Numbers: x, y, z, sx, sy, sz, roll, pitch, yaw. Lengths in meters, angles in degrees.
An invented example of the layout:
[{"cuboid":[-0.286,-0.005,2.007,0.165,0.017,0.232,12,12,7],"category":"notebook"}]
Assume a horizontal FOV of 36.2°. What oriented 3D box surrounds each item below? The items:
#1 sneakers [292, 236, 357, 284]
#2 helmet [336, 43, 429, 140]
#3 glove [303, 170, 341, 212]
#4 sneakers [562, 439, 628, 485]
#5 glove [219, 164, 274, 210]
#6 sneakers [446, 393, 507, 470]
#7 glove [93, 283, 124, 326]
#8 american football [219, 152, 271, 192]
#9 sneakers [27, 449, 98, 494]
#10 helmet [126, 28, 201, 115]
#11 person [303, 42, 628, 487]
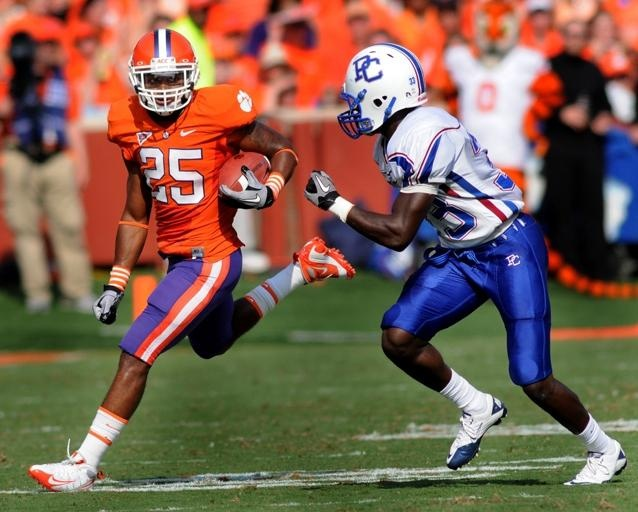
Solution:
[{"cuboid":[0.078,0.035,6.238,0.429,0.214,0.191,6,10,-12],"category":"sneakers"},{"cuboid":[0.340,-0.894,5.269,0.598,0.446,0.420,5,16,14],"category":"helmet"},{"cuboid":[0.017,-0.346,5.284,0.154,0.102,0.250,-44,49,-11],"category":"glove"},{"cuboid":[1.448,1.111,5.102,0.399,0.143,0.135,-20,11,-23],"category":"sneakers"},{"cuboid":[-0.393,-0.323,5.263,0.124,0.195,0.270,-18,10,-16],"category":"glove"},{"cuboid":[0.907,1.019,5.557,0.224,0.444,0.155,44,-12,-28],"category":"sneakers"},{"cuboid":[-1.174,0.274,5.435,0.094,0.201,0.212,36,-7,-21],"category":"glove"},{"cuboid":[-0.387,-0.448,5.403,0.186,0.162,0.300,13,47,45],"category":"american football"},{"cuboid":[-1.338,1.156,5.160,0.451,0.195,0.145,8,32,-21],"category":"sneakers"},{"cuboid":[-0.828,-0.984,5.272,0.367,0.459,0.281,-3,14,-15],"category":"helmet"},{"cuboid":[0.757,0.025,5.249,1.671,2.261,0.630,5,14,18],"category":"person"}]
